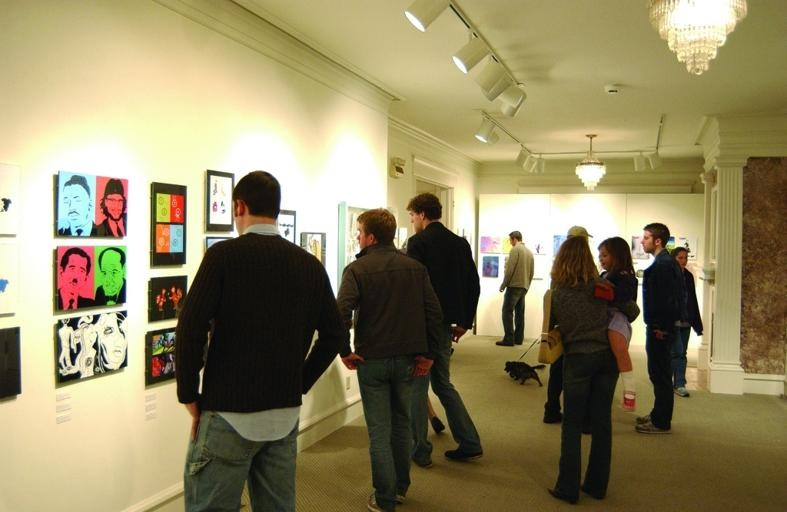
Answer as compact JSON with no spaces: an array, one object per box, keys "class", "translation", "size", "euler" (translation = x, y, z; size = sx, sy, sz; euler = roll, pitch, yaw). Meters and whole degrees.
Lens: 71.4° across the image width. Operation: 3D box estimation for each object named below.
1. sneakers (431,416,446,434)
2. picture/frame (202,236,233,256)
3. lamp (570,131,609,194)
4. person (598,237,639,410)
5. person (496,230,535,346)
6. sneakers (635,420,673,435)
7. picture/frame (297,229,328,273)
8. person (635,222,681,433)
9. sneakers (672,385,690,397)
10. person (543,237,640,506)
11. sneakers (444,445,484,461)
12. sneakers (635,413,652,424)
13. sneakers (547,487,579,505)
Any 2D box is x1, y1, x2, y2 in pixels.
[{"class":"sneakers","translation":[0.454,1.728,5.610],"size":[0.102,0.192,0.066],"euler":[-10,-3,-25]},{"class":"picture/frame","translation":[-1.109,-0.063,3.428],"size":[0.152,0.109,0.015],"euler":[0,-1,-26]},{"class":"lamp","translation":[3.068,-1.498,8.558],"size":[0.364,0.838,0.378],"euler":[2,-1,-8]},{"class":"person","translation":[1.865,0.519,4.665],"size":[0.420,1.387,0.420],"euler":[7,-11,-11]},{"class":"person","translation":[2.130,0.557,9.682],"size":[0.678,1.592,0.469],"euler":[0,0,-42]},{"class":"sneakers","translation":[2.706,1.788,5.682],"size":[0.363,0.159,0.136],"euler":[5,-2,6]},{"class":"picture/frame","translation":[-0.660,-0.060,4.407],"size":[0.048,0.367,0.351],"euler":[0,13,34]},{"class":"person","translation":[2.712,0.739,5.625],"size":[0.436,1.455,0.547],"euler":[0,0,27]},{"class":"sneakers","translation":[3.624,1.704,6.899],"size":[0.086,0.111,0.257],"euler":[-1,-11,-3]},{"class":"person","translation":[1.562,0.910,4.394],"size":[0.644,1.568,0.355],"euler":[0,0,9]},{"class":"sneakers","translation":[0.642,1.772,5.009],"size":[0.353,0.148,0.142],"euler":[2,0,10]},{"class":"sneakers","translation":[2.648,1.744,5.840],"size":[0.221,0.098,0.084],"euler":[0,-3,31]},{"class":"sneakers","translation":[1.374,1.947,4.475],"size":[0.234,0.102,0.086],"euler":[15,4,35]}]
